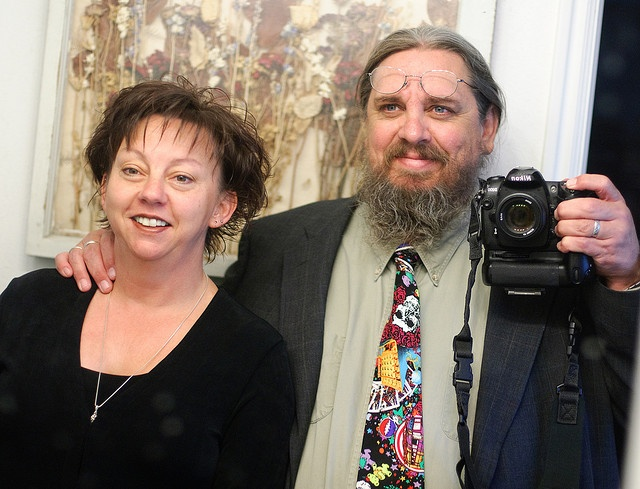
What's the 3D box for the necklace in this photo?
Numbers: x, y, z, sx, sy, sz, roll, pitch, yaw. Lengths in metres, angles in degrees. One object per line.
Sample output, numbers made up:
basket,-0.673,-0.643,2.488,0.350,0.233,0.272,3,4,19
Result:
necklace,-0.618,0.331,2.063,0.206,0.518,0.026,16,-27,12
